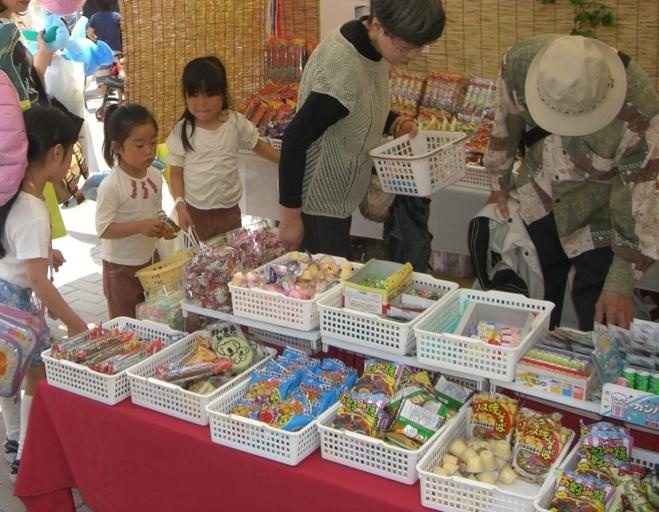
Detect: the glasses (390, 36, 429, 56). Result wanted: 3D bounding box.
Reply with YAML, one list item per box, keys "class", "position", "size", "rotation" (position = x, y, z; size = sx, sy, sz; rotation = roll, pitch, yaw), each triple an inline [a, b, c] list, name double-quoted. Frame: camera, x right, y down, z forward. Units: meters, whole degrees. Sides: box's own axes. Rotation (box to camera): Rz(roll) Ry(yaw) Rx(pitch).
- class: "glasses"
  position: [0.355, -0.935, 2.419]
  size: [0.167, 0.088, 0.111]
  rotation: [-5, 24, -11]

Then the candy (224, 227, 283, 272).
- class: "candy"
  position: [-0.348, -0.038, 2.520]
  size: [0.191, 0.072, 0.213]
  rotation: [-10, 47, -18]

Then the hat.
- class: "hat"
  position: [1.071, -0.712, 2.329]
  size: [0.429, 0.435, 0.250]
  rotation: [10, 24, 21]

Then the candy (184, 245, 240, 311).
- class: "candy"
  position: [-0.490, 0.094, 2.414]
  size: [0.219, 0.252, 0.248]
  rotation: [11, 31, 15]

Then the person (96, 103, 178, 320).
- class: "person"
  position: [-1.198, -0.029, 3.408]
  size: [0.454, 1.732, 0.583]
  rotation: [0, 17, -13]
